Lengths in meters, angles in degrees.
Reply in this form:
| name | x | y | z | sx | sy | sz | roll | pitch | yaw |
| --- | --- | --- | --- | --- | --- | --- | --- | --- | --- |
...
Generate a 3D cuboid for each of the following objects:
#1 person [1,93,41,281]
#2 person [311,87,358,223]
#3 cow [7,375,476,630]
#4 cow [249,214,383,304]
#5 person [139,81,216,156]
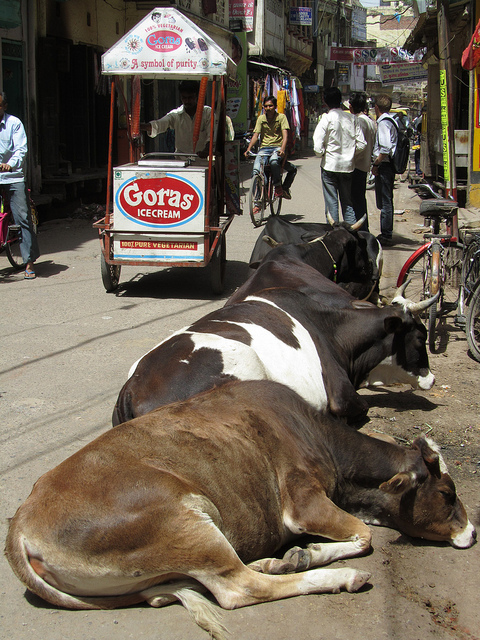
| name | x | y | z | sx | sy | sz | roll | pitch | yaw |
| --- | --- | --- | --- | --- | --- | --- | --- | --- | --- |
| person | -2.766 | -1.597 | 7.224 | 0.339 | 2.209 | 0.369 | -5 | 14 | -17 |
| person | 1.350 | -2.336 | 8.203 | 0.614 | 1.904 | 1.008 | 2 | 14 | 11 |
| cow | 0.088 | 0.561 | 2.244 | 1.757 | 0.818 | 0.804 | -6 | 6 | -37 |
| cow | 0.744 | -0.580 | 5.573 | 1.179 | 0.602 | 0.821 | 12 | 31 | 5 |
| person | -0.718 | -2.642 | 7.621 | 1.020 | 0.942 | 0.677 | 9 | 17 | 33 |
